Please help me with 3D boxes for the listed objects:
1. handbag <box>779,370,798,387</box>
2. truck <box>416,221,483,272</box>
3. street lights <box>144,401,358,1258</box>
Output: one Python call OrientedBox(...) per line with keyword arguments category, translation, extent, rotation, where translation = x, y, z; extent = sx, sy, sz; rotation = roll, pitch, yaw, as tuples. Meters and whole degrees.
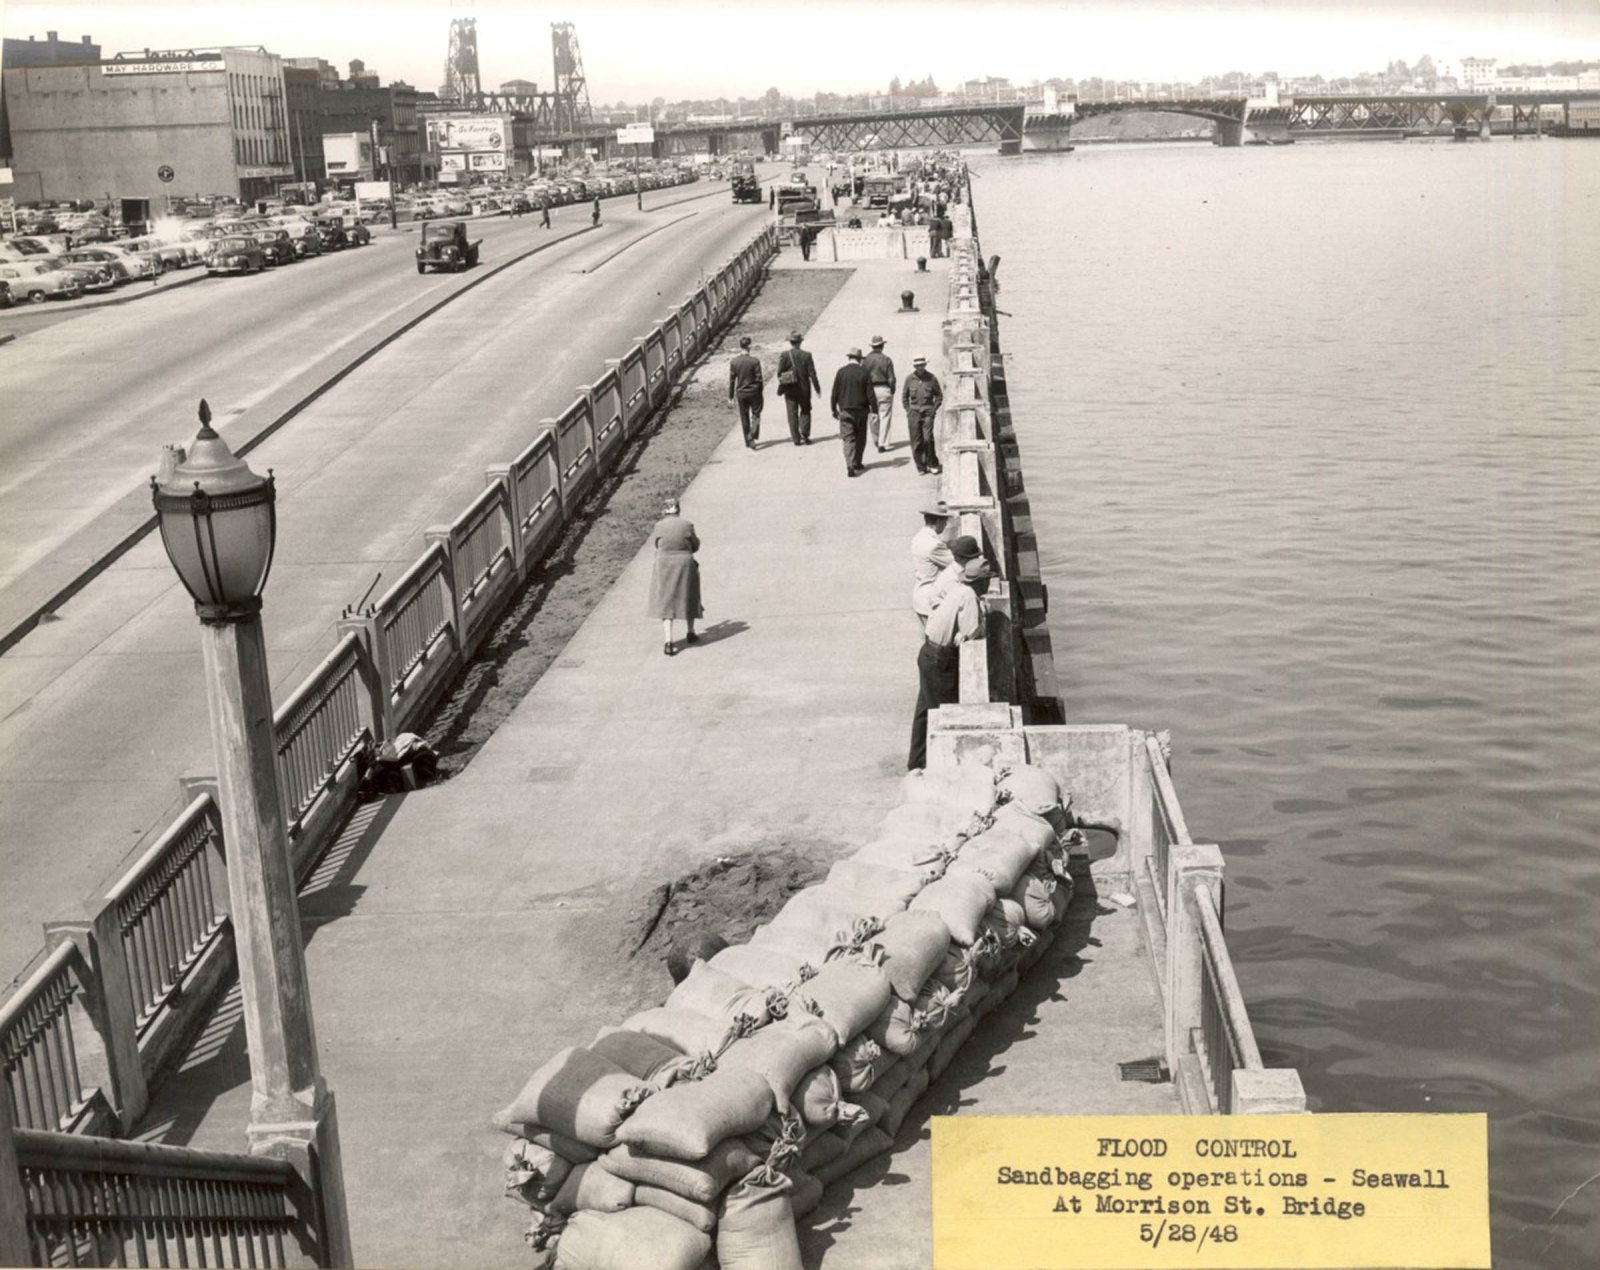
OrientedBox(category="handbag", translation=(-0.280, -4.206, 31.755), extent=(0.252, 0.221, 0.202), rotation=(12, 22, 37))
OrientedBox(category="truck", translation=(-14.040, -15.012, 75.860), extent=(1.543, 1.425, 3.786), rotation=(-3, 15, -4))
OrientedBox(category="street lights", translation=(-2.852, 1.179, 10.031), extent=(0.574, 4.753, 0.613), rotation=(-7, 18, -16))
